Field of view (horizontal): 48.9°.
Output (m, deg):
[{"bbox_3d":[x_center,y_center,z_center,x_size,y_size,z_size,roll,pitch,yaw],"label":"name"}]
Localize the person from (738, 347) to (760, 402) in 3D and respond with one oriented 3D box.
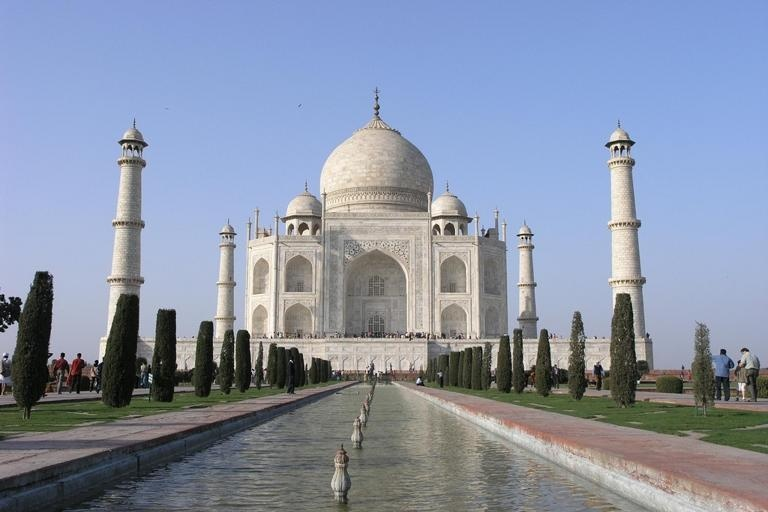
[{"bbox_3d":[6.863,2.258,15.936,0.363,0.987,2.131,-4,-11,22],"label":"person"}]
